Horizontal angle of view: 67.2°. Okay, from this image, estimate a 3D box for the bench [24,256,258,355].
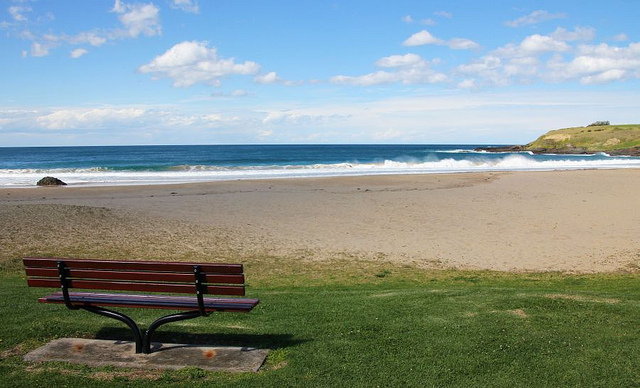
[{"bbox_3d":[-3.454,2.174,9.684,4.712,1.533,1.441,-2,-10,16],"label":"bench"}]
